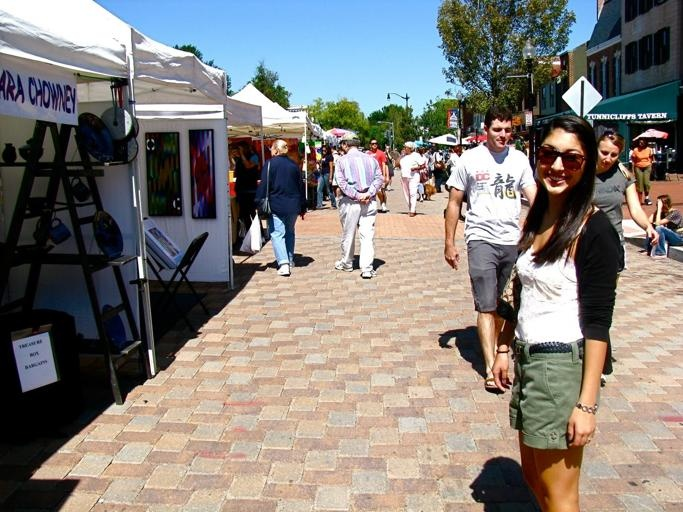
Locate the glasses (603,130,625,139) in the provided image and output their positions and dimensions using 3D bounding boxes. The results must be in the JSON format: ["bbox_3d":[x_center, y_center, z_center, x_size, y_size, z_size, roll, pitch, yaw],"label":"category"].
[{"bbox_3d":[2.552,-1.160,4.613,0.130,0.042,0.132,-1,7,-7],"label":"glasses"}]

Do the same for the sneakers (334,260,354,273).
[{"bbox_3d":[0.047,0.187,9.066,0.319,0.154,0.145,11,12,29],"label":"sneakers"}]

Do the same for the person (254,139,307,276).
[{"bbox_3d":[-1.068,-0.912,8.989,0.823,2.441,0.891,8,13,35],"label":"person"}]

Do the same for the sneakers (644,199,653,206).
[{"bbox_3d":[11.691,-2.052,18.595,0.199,0.269,0.640,-3,3,9],"label":"sneakers"}]

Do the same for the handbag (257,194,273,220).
[{"bbox_3d":[-1.384,-0.875,8.735,0.243,0.451,0.295,-4,14,-16],"label":"handbag"}]

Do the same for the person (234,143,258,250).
[{"bbox_3d":[-2.239,-1.491,11.555,0.603,2.395,0.558,-3,13,-9],"label":"person"}]

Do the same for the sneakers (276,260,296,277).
[{"bbox_3d":[-1.007,0.231,8.831,0.213,0.297,0.665,0,-4,-3],"label":"sneakers"}]

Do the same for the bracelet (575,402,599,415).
[{"bbox_3d":[0.968,0.606,1.906,0.056,0.019,0.054,-2,8,-39],"label":"bracelet"}]
